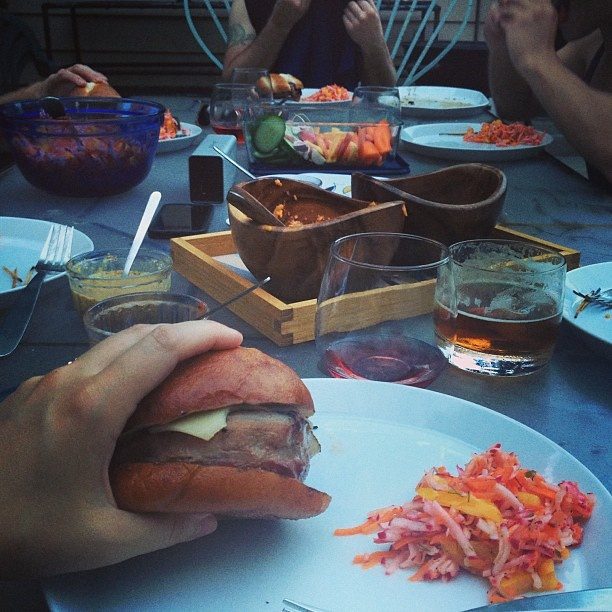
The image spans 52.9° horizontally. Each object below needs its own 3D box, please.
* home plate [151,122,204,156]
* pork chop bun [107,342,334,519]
[{"bbox_3d":[-0.381,-0.507,1.852,0.176,0.031,0.147,-2,32,-4],"label":"home plate"},{"bbox_3d":[-0.069,0.100,0.536,0.179,0.098,0.163,0,0,-4],"label":"pork chop bun"}]
